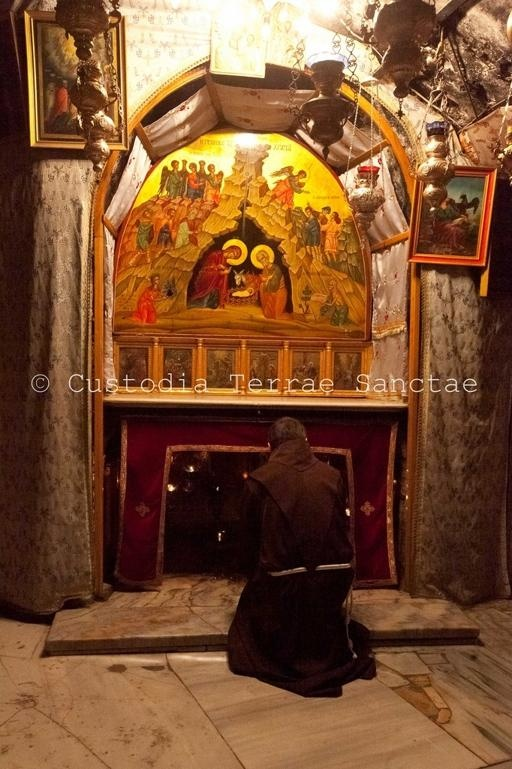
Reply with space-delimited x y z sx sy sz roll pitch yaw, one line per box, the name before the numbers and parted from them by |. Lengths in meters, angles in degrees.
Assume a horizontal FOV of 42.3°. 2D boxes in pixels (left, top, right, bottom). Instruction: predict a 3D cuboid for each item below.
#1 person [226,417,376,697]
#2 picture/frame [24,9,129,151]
person | 0.244 0.946 3.858 0.845 1.440 0.827 -1 -4 -7
picture/frame | -1.152 -1.981 4.234 0.643 0.755 0.833 1 3 -12
